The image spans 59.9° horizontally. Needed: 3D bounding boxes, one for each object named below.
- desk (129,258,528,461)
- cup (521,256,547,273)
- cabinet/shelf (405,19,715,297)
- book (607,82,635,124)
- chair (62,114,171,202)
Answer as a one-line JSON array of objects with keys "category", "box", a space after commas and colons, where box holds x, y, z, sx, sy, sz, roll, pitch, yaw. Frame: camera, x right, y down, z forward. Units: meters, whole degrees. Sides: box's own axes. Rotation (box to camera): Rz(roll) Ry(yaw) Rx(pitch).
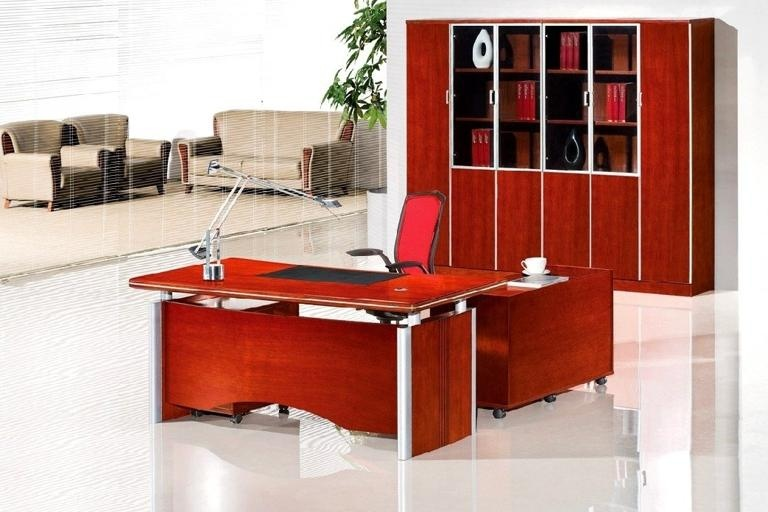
[{"category": "desk", "box": [-0.514, 0.707, 4.754, 2.402, 0.985, 1.216, 1, 2, 33]}, {"category": "cup", "box": [1.280, 0.071, 5.665, 0.262, 0.136, 0.193, -4, 8, 0]}, {"category": "cabinet/shelf", "box": [2.146, -1.155, 7.513, 3.901, 2.818, 1.053, 3, 7, 26]}, {"category": "book", "box": [2.718, -1.750, 7.843, 0.444, 0.469, 0.547, 2, 7, 22]}, {"category": "chair", "box": [-3.940, -1.364, 9.582, 1.182, 1.138, 1.365, 3, 6, 27]}]
